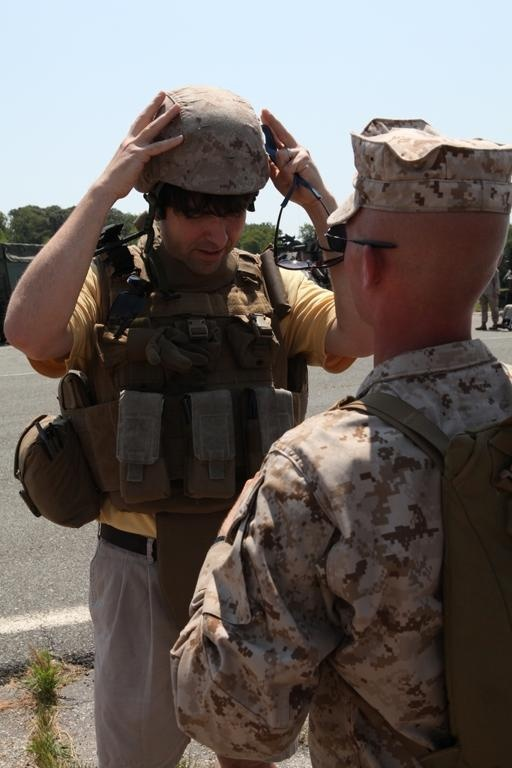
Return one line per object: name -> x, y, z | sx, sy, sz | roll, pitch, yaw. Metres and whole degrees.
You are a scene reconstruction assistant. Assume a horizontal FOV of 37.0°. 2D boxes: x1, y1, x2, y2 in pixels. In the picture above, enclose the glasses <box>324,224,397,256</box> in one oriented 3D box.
glasses -> 0.154, -0.232, 1.236 | 0.080, 0.026, 0.098 | 0, 15, -26
